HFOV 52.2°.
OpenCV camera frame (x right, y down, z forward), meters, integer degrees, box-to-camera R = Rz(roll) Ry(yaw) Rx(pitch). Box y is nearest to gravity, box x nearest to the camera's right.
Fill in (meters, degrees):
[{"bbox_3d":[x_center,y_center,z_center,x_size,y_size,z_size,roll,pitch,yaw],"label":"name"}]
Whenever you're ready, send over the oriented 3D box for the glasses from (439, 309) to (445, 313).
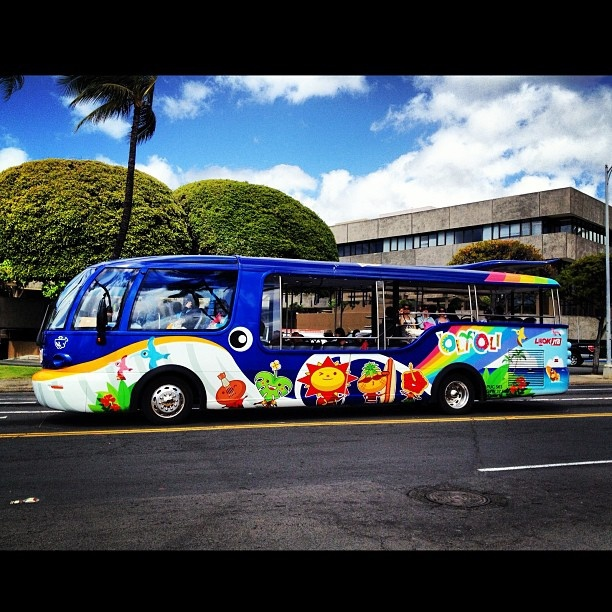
[{"bbox_3d":[2.619,0.079,12.051,0.103,0.109,0.059,3,-2,12],"label":"glasses"}]
